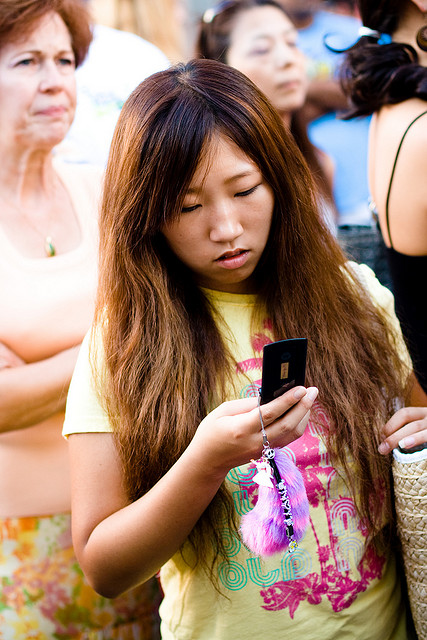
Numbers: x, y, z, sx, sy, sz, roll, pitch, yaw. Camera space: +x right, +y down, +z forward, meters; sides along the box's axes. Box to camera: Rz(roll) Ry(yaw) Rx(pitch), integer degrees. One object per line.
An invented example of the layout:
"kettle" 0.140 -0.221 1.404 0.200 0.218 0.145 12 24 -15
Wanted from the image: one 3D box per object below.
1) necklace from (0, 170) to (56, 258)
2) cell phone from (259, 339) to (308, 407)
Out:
"necklace" -0.542 -0.310 1.819 0.165 0.218 0.112 -25 22 -27
"cell phone" 0.122 0.100 1.044 0.089 0.145 0.015 -15 35 -21
